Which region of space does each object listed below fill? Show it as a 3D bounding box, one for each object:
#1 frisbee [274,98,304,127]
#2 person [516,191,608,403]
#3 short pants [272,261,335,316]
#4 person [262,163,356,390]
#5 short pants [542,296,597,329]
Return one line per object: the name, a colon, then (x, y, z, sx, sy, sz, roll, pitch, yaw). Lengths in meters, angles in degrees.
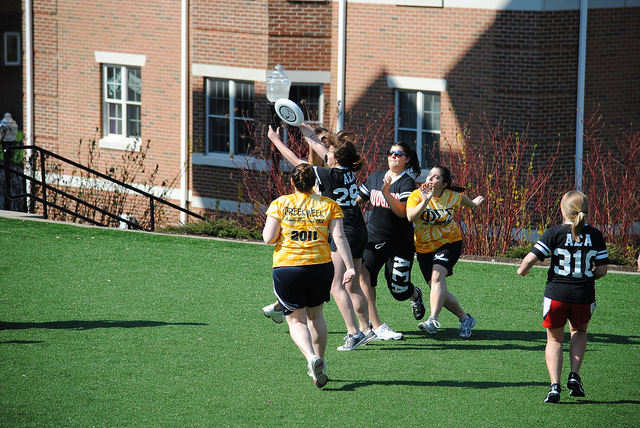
frisbee: (-0.569, -1.494, 13.953, 0.312, 0.329, 0.309, -9, 4, -36)
person: (3.087, 1.040, 11.677, 0.975, 2.563, 0.329, 3, 1, 10)
short pants: (-0.196, 0.906, 12.019, 0.875, 0.744, 0.631, -16, -11, 39)
person: (-0.175, 0.762, 11.831, 1.051, 2.400, 0.454, 3, 1, 17)
short pants: (3.059, 1.241, 11.604, 0.577, 0.454, 0.355, 2, 5, 3)
